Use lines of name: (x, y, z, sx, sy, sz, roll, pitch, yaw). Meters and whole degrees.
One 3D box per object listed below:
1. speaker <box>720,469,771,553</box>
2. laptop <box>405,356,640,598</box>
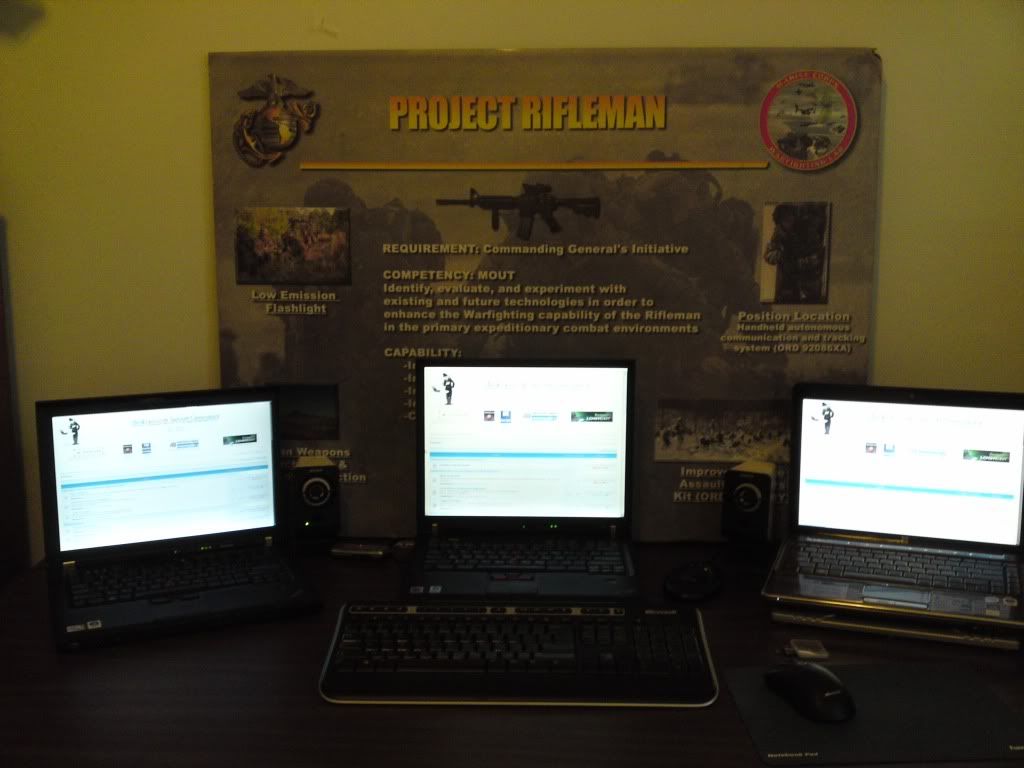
speaker: (0.635, 0.299, 2.754, 0.150, 0.230, 0.151, 8, 30, 23)
laptop: (0.027, 0.225, 2.512, 0.601, 0.516, 0.424, 1, 11, 4)
